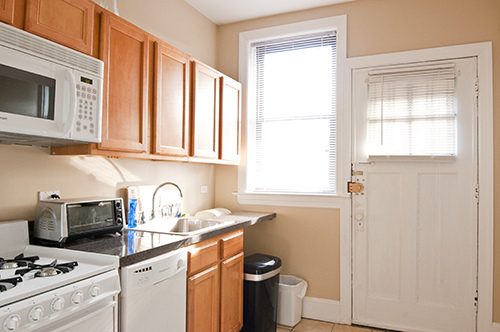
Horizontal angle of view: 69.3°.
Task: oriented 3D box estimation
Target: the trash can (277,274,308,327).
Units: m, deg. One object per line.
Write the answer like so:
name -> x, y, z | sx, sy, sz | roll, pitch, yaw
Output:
trash can -> 0.422, 1.432, 3.978 | 0.436, 0.462, 0.385 | -1, -2, 26

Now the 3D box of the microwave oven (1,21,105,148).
microwave oven -> -1.446, -0.412, 2.556 | 0.666, 0.681, 0.939 | -1, -6, 32
